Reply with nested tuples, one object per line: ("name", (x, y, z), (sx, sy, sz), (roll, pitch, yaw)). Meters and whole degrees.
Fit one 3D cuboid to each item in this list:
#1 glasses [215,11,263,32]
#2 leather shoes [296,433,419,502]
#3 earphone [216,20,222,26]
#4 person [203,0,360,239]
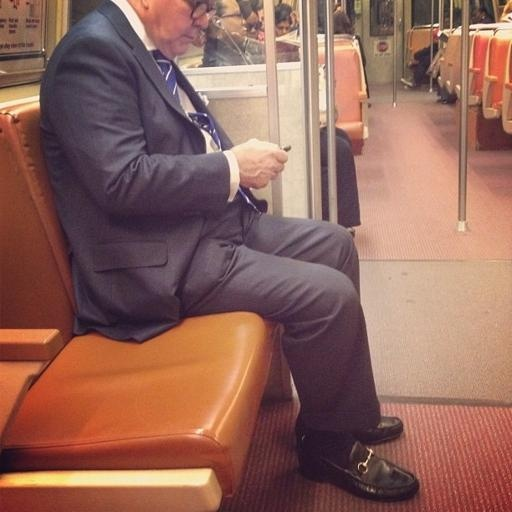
("glasses", (-0.070, -0.968, 1.972), (0.125, 0.063, 0.110), (0, 27, 11))
("leather shoes", (0.271, 0.554, 1.352), (0.347, 0.164, 0.139), (5, 33, 30))
("earphone", (-0.155, -0.988, 2.002), (0.016, 0.026, 0.020), (-2, -6, -9))
("person", (0.286, -0.684, 2.797), (0.673, 1.520, 1.004), (0, 18, 4))
